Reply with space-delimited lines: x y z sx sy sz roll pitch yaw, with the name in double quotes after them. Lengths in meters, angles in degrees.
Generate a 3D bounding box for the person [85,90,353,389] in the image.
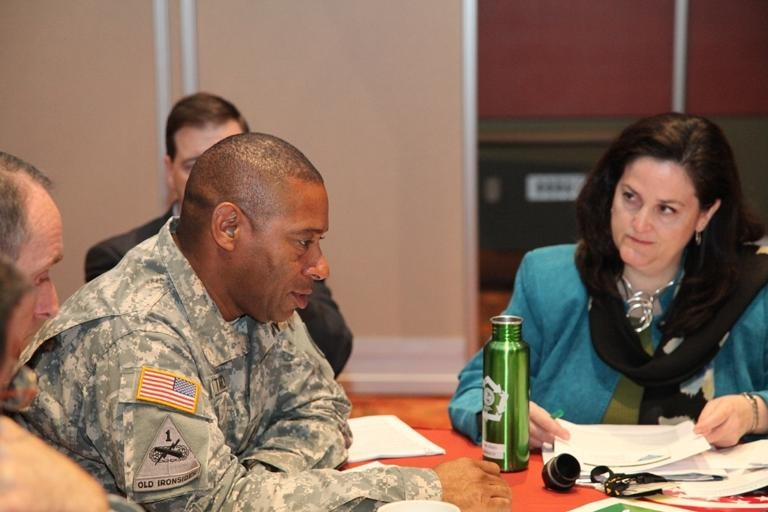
-0.576 -0.183 3.904 1.393 1.145 1.055 5 11 28 "person"

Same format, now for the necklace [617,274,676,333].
0.916 0.177 2.852 0.174 0.196 0.065 8 -9 3 "necklace"
